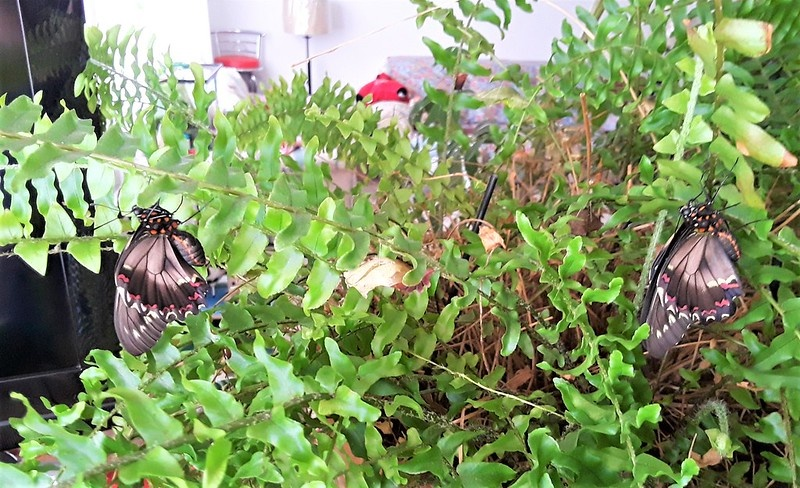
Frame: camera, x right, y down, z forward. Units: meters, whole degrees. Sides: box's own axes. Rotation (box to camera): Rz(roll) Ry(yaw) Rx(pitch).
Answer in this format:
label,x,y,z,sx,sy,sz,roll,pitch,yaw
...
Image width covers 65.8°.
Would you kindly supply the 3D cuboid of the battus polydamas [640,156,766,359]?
label,x,y,z,sx,sy,sz,roll,pitch,yaw
battus polydamas,0.277,0.027,0.589,0.099,0.121,0.060,-8,-6,15
